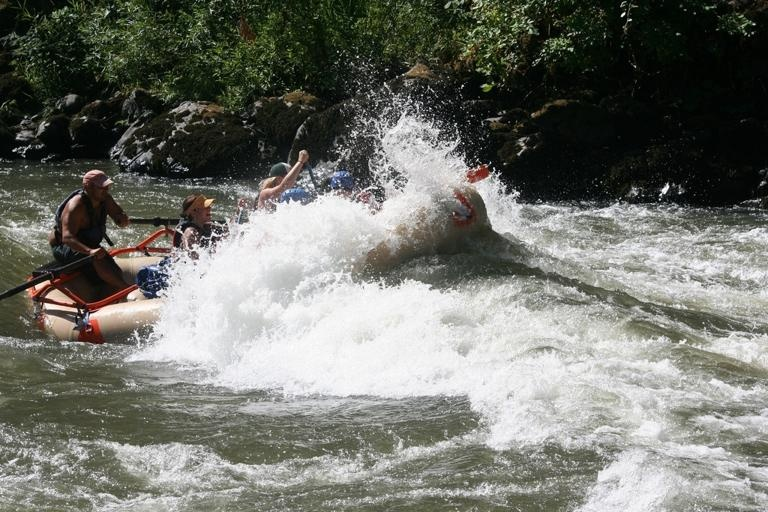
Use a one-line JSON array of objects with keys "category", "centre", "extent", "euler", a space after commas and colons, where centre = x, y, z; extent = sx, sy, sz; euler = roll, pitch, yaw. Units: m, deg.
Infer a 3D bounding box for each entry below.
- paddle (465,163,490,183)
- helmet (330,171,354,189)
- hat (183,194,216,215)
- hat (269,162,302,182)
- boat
[{"category": "paddle", "centre": [1.498, -1.368, 16.682], "extent": [0.411, 0.227, 0.097], "euler": [-22, 25, -2]}, {"category": "helmet", "centre": [-0.739, -1.285, 17.009], "extent": [0.410, 0.327, 0.286], "euler": [-3, 7, 2]}, {"category": "hat", "centre": [-3.071, -0.871, 16.510], "extent": [0.533, 0.247, 0.320], "euler": [-16, 8, -6]}, {"category": "hat", "centre": [-1.811, -1.507, 17.707], "extent": [0.386, 0.209, 0.266], "euler": [-17, 28, -14]}, {"category": "boat", "centre": [-2.084, 0.296, 16.595], "extent": [6.104, 1.206, 3.170], "euler": [-21, -4, -6]}]
